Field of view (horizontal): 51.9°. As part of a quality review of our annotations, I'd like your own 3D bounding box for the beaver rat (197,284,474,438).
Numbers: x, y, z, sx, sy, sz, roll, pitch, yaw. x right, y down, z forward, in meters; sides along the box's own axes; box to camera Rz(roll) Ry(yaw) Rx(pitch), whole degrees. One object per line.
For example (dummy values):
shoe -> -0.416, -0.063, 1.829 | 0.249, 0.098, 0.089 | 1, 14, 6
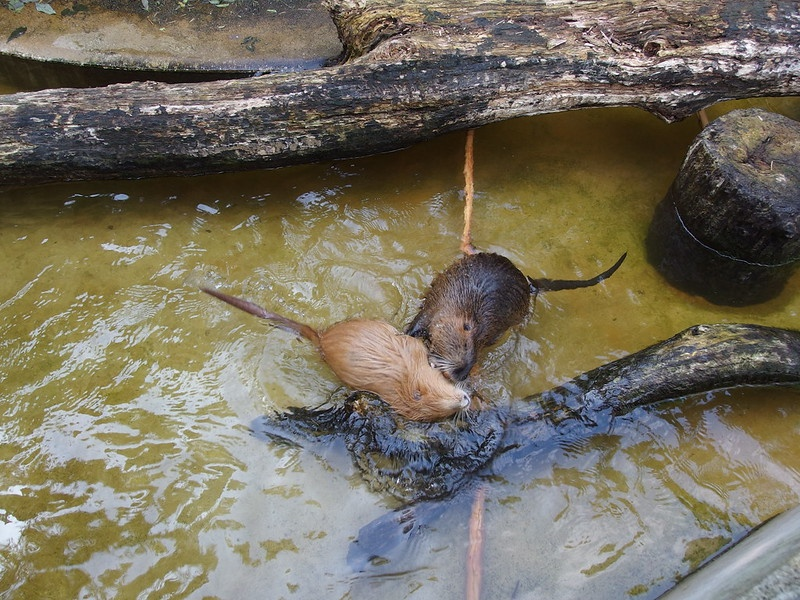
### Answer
beaver rat -> -0.339, 0.420, 5.566 | 1.976, 0.523, 0.395 | 14, 74, -9
